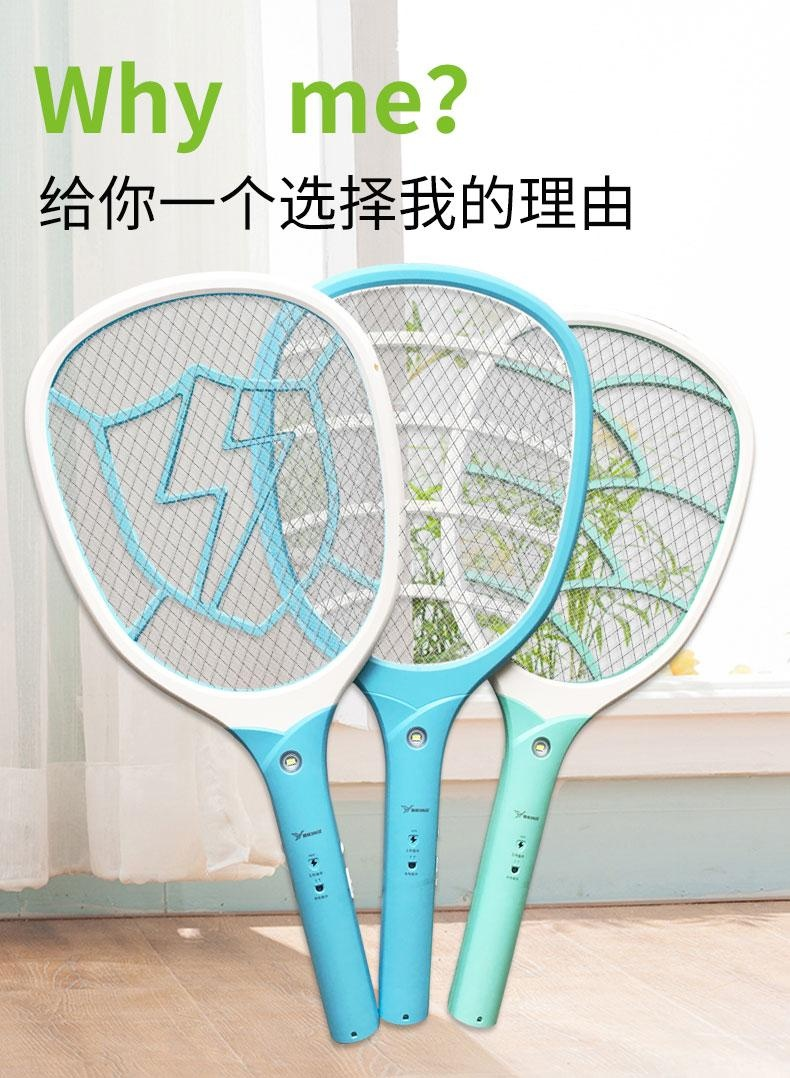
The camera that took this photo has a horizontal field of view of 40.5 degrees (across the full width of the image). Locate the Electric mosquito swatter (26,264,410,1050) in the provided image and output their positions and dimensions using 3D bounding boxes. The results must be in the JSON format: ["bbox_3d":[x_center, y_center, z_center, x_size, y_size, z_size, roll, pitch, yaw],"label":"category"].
[{"bbox_3d":[-0.105,0.039,0.838,0.304,0.601,0.043,-15,-4,-2],"label":"Electric mosquito swatter"}]

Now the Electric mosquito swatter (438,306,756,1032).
[{"bbox_3d":[0.166,0.101,0.943,0.270,0.580,0.043,20,-13,2],"label":"Electric mosquito swatter"}]
